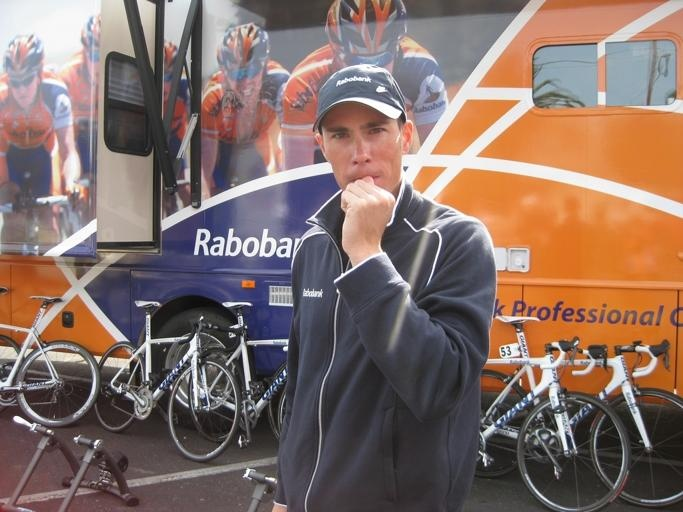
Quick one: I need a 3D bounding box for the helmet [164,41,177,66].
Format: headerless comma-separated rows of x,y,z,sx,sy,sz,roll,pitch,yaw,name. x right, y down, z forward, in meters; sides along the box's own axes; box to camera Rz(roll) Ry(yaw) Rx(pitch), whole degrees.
-1.762,-2.055,6.489,0.144,0.230,0.076,2,0,28,helmet
